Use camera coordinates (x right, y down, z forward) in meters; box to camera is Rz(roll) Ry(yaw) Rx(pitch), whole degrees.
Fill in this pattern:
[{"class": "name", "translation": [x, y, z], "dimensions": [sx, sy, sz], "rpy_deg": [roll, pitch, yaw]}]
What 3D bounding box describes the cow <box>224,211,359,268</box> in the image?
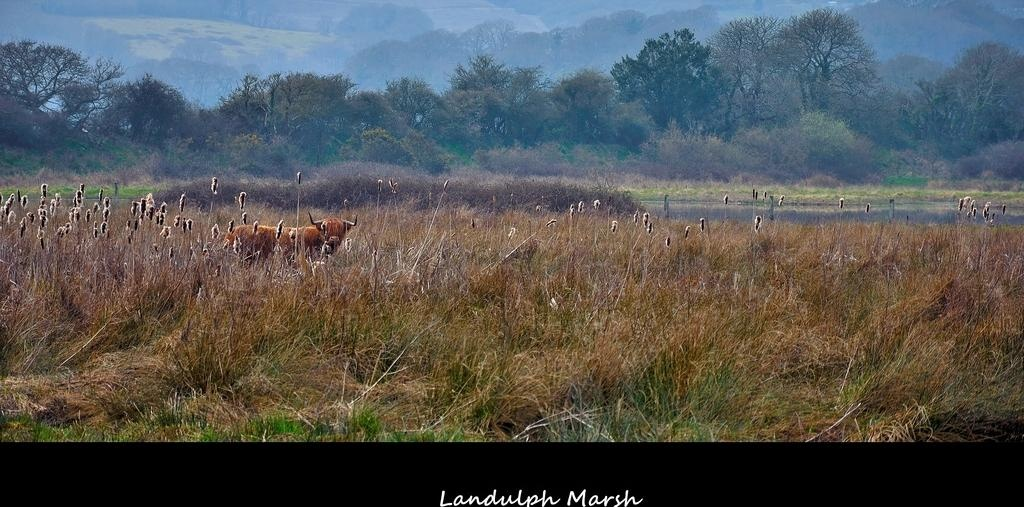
[{"class": "cow", "translation": [-5.854, -0.179, 31.389], "dimensions": [3.719, 1.665, 1.349], "rpy_deg": [-2, 20, -4]}]
